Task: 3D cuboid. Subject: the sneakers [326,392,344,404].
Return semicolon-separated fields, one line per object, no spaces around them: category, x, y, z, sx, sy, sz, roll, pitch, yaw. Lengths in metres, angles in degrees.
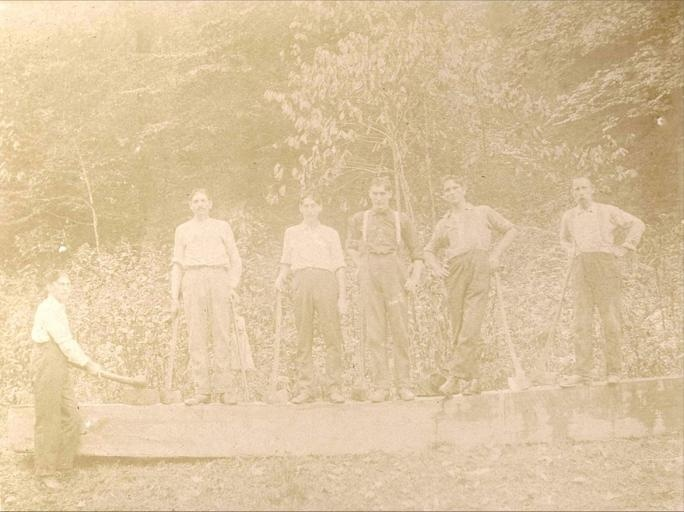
sneakers;-0.070;1.400;14.819;0.093;0.063;0.161;3;-10;-43

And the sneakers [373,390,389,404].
sneakers;0.385;1.381;14.783;0.161;0.114;0.056;-8;-5;-10

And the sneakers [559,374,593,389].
sneakers;2.360;1.260;14.984;0.247;0.068;0.157;0;18;8

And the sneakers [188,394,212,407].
sneakers;-1.430;1.420;14.743;0.205;0.075;0.112;4;-9;-3

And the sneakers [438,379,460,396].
sneakers;1.078;1.307;14.902;0.198;0.129;0.180;-2;29;12

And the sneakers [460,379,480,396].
sneakers;1.296;1.307;14.901;0.200;0.143;0.071;-5;13;2

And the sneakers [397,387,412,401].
sneakers;0.628;1.372;14.852;0.135;0.109;0.069;0;-35;-13
